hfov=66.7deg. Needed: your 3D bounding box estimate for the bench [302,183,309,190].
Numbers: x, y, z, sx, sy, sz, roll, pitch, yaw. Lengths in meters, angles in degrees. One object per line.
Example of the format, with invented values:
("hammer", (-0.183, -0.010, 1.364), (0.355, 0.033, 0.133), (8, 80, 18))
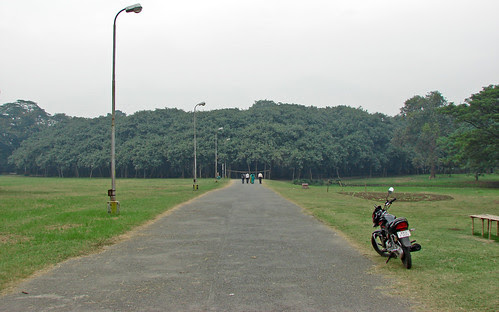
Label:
("bench", (6.952, 3.742, 47.356), (0.748, 0.487, 0.738), (-1, -2, 1))
